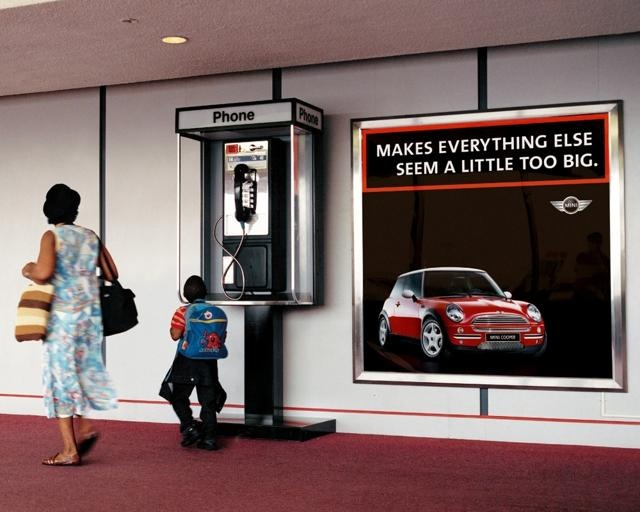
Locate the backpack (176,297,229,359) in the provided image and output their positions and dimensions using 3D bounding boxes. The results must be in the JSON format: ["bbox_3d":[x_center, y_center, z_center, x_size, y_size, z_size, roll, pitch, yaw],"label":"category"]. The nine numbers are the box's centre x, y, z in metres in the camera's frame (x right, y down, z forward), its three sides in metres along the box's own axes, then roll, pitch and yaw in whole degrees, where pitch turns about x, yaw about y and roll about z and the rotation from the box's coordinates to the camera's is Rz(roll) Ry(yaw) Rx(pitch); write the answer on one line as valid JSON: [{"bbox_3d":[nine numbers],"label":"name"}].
[{"bbox_3d":[-0.960,0.651,5.343,0.405,0.497,0.454,2,-16,-19],"label":"backpack"}]

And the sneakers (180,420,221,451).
[{"bbox_3d":[-0.989,1.458,5.276,0.146,0.172,0.395,-13,15,-42],"label":"sneakers"}]

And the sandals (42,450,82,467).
[{"bbox_3d":[-1.856,1.449,4.662,0.215,0.081,0.121,4,-8,-1],"label":"sandals"}]

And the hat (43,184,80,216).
[{"bbox_3d":[-1.903,-0.452,4.877,0.284,0.145,0.370,36,-8,-27],"label":"hat"}]

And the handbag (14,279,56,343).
[{"bbox_3d":[-1.993,0.391,4.513,0.223,0.406,0.095,4,-6,-21],"label":"handbag"}]

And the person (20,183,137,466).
[{"bbox_3d":[-1.808,0.492,4.648,0.706,2.042,0.374,2,-4,-31],"label":"person"}]

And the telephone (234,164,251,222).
[{"bbox_3d":[-0.712,-0.577,5.888,0.138,0.531,0.107,0,-4,-8],"label":"telephone"}]
